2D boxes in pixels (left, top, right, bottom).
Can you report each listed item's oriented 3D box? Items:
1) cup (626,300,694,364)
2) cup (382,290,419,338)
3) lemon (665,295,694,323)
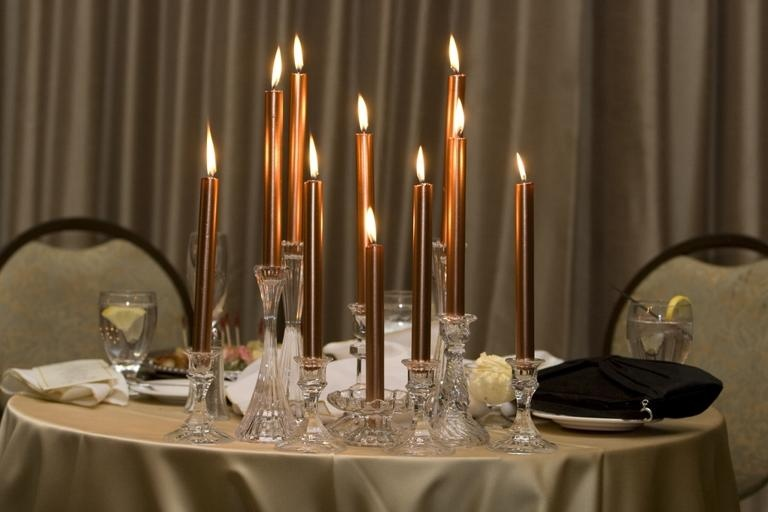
[{"bbox_3d":[0.637,0.180,1.894,0.134,0.178,0.145,0,-5,0],"label":"cup"},{"bbox_3d":[0.051,0.148,2.017,0.079,0.154,0.088,-1,-2,34],"label":"cup"},{"bbox_3d":[0.690,0.123,1.854,0.064,0.052,0.038,-1,-1,-42],"label":"lemon"}]
